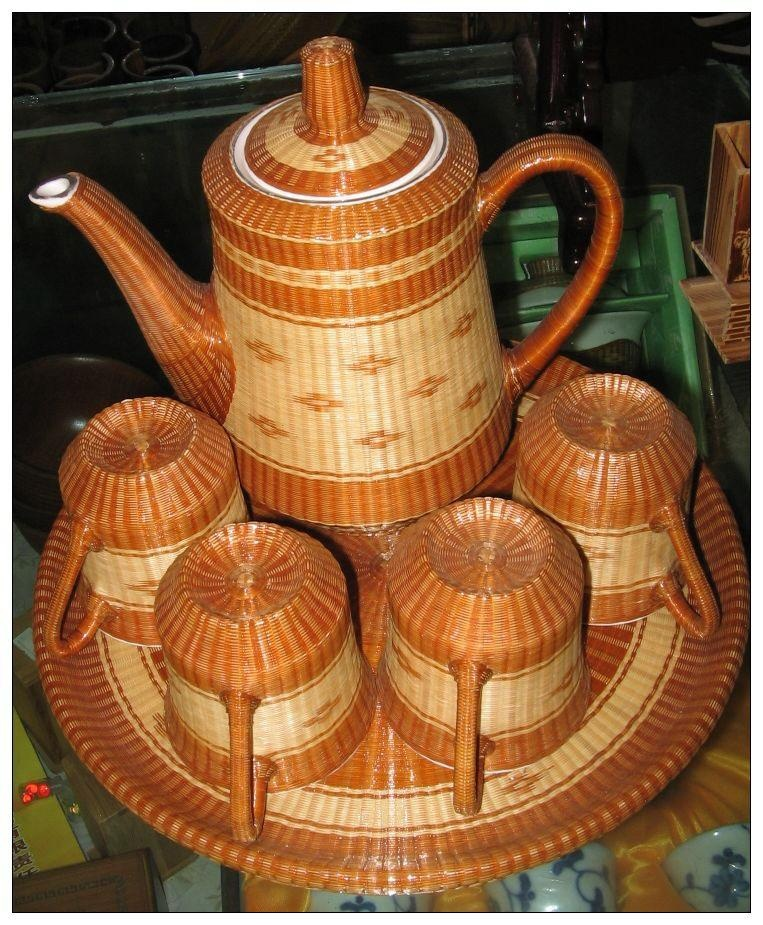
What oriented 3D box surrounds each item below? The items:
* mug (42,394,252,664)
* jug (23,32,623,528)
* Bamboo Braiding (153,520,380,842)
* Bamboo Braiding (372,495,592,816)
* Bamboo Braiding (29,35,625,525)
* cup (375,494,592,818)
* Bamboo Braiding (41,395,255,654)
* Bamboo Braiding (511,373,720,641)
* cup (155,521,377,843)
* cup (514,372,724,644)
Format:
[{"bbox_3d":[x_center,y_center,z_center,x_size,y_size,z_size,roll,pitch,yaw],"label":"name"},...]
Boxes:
[{"bbox_3d":[-0.095,0.017,0.400,0.081,0.094,0.120,17,46,14],"label":"mug"},{"bbox_3d":[0.020,-0.108,0.422,0.297,0.223,0.167,-5,44,-4],"label":"jug"},{"bbox_3d":[-0.046,0.093,0.301,0.056,0.053,0.077,-6,4,-1],"label":"Bamboo Braiding"},{"bbox_3d":[0.038,0.078,0.305,0.074,0.073,0.107,0,31,10],"label":"Bamboo Braiding"},{"bbox_3d":[-0.007,-0.109,0.417,0.295,0.225,0.168,-5,44,-4],"label":"Bamboo Braiding"},{"bbox_3d":[0.037,0.069,0.347,0.087,0.083,0.121,2,46,8],"label":"cup"},{"bbox_3d":[-0.093,0.015,0.403,0.081,0.093,0.120,16,45,12],"label":"Bamboo Braiding"},{"bbox_3d":[0.097,0.012,0.403,0.083,0.093,0.123,-19,42,-6],"label":"Bamboo Braiding"},{"bbox_3d":[-0.041,0.081,0.337,0.085,0.083,0.117,0,49,-3],"label":"cup"},{"bbox_3d":[0.097,0.012,0.403,0.083,0.092,0.122,-19,41,-4],"label":"cup"}]
